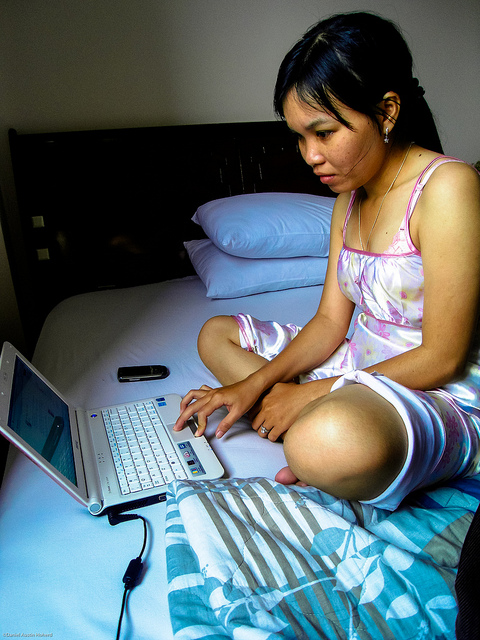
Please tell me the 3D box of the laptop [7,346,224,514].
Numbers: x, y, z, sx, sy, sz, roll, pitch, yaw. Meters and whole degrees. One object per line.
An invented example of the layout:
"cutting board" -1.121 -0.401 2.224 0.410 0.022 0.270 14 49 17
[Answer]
"laptop" -0.209 0.227 0.842 0.314 0.195 0.319 -16 36 -21

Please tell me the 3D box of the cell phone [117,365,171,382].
"cell phone" -0.254 0.139 1.177 0.096 0.016 0.053 -1 12 -7

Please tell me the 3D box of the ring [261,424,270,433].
"ring" 0.053 0.225 0.922 0.005 0.014 0.014 -40 21 -15

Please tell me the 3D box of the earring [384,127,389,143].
"earring" 0.256 -0.320 0.775 0.004 0.026 0.018 25 38 28

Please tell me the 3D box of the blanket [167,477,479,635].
"blanket" 0.108 0.303 0.568 0.294 0.034 0.285 4 18 -1

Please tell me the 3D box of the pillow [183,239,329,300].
"pillow" 0.068 -0.188 1.762 0.313 0.082 0.317 -7 24 -14
